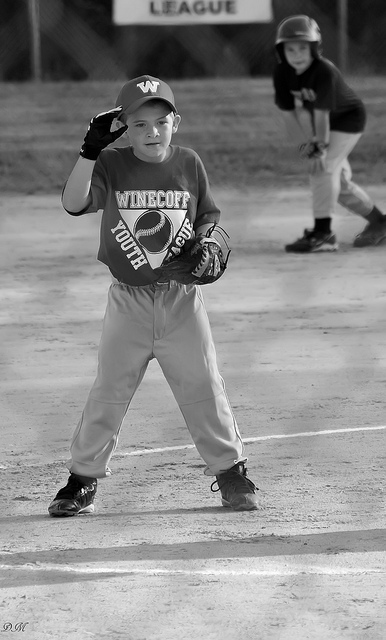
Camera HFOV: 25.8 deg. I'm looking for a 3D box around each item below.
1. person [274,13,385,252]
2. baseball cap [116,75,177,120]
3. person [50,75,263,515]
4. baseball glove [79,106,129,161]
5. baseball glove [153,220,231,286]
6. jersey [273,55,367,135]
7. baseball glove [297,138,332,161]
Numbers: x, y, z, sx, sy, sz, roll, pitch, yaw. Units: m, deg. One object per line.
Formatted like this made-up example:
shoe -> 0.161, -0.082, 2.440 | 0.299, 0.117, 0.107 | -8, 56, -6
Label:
person -> 0.871, -1.199, 5.546 | 0.706, 1.516, 0.718 | 3, 8, 20
baseball cap -> -0.143, -0.675, 2.524 | 0.168, 0.110, 0.218 | -11, 12, -24
person -> -0.097, -0.070, 2.543 | 0.629, 1.303, 0.324 | 0, 8, 1
baseball glove -> -0.253, -0.536, 2.410 | 0.137, 0.168, 0.193 | 0, 7, -4
baseball glove -> 0.007, -0.208, 2.547 | 0.112, 0.188, 0.290 | 5, 9, 33
jersey -> 0.846, -1.448, 5.469 | 0.566, 0.493, 0.453 | -5, 26, -3
baseball glove -> 0.769, -1.079, 5.389 | 0.152, 0.074, 0.201 | -16, 9, -10
